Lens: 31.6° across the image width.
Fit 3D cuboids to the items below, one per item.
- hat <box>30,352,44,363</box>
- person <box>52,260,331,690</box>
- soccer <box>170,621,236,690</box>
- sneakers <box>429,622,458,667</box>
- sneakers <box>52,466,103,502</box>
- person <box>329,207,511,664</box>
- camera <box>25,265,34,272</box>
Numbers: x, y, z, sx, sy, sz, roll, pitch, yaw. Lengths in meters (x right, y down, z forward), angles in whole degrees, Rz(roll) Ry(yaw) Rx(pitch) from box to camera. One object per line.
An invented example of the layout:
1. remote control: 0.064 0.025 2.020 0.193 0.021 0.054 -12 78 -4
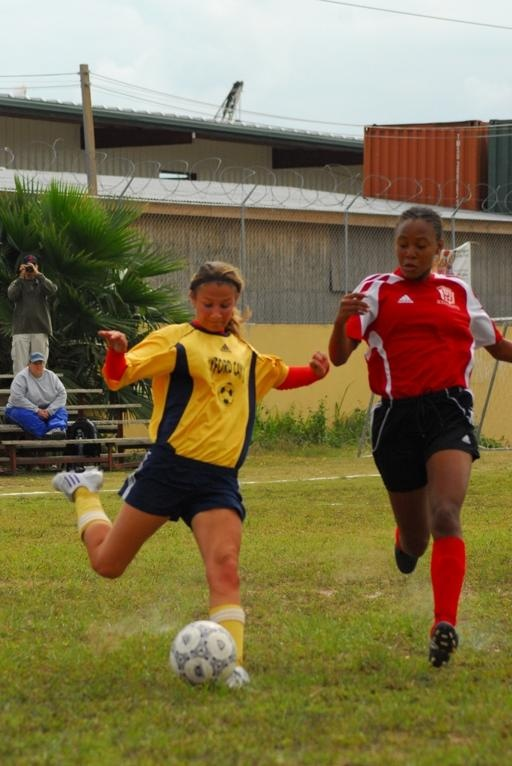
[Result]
1. hat: -2.541 -0.313 10.522 0.172 0.115 0.130 0 1 -35
2. person: -0.278 0.304 3.725 0.767 1.636 0.815 0 1 2
3. soccer: -0.203 0.993 3.328 0.227 0.208 0.155 1 1 41
4. sneakers: 0.697 0.982 3.387 0.086 0.196 0.085 13 19 13
5. sneakers: -0.829 0.451 4.238 0.186 0.082 0.179 6 9 -12
6. person: 0.655 0.153 3.854 0.705 1.885 0.971 1 1 14
7. camera: -2.682 -1.380 10.667 0.085 0.080 0.080 0 -10 6
